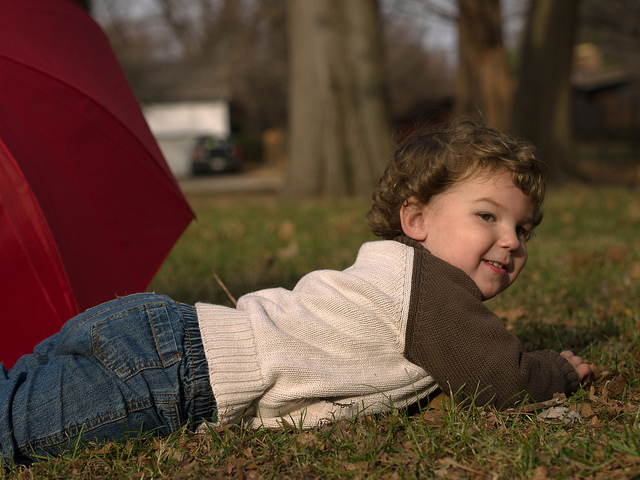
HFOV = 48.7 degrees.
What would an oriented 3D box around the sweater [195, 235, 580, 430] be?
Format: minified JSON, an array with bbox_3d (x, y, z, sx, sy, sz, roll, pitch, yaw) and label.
[{"bbox_3d":[0.205,0.346,3.345,1.326,0.578,0.861,-4,3,-4],"label":"sweater"}]
